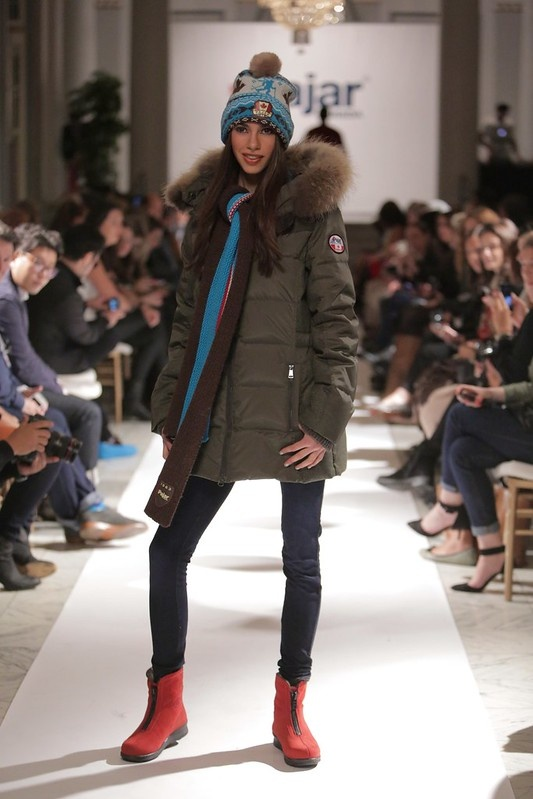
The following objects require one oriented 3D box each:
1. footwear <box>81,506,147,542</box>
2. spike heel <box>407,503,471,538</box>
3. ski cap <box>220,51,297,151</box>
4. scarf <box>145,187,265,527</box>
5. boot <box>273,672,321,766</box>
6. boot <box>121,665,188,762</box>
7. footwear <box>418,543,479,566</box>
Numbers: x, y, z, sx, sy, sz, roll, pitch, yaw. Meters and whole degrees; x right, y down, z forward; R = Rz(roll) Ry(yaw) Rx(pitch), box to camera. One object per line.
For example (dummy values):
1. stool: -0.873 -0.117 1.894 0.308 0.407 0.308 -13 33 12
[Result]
1. footwear: -0.616 0.481 3.064 0.283 0.117 0.093 -2 5 -21
2. spike heel: 0.660 0.458 2.949 0.103 0.075 0.238 42 -18 -24
3. ski cap: -0.004 -0.578 1.565 0.146 0.180 0.195 4 -5 0
4. scarf: -0.122 -0.083 1.434 0.195 0.611 0.132 -1 7 -10
5. boot: 0.060 0.633 1.558 0.065 0.148 0.168 2 -5 -17
6. boot: -0.225 0.624 1.573 0.071 0.144 0.174 -2 1 31
7. footwear: 0.664 0.550 2.836 0.185 0.061 0.066 2 5 41
